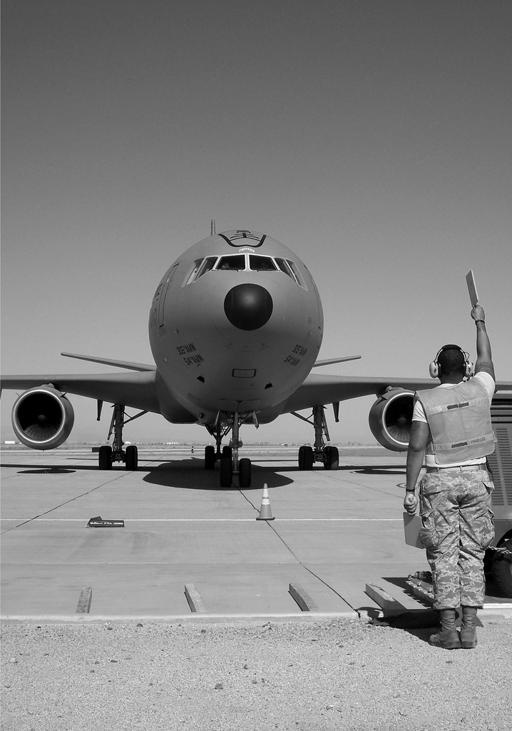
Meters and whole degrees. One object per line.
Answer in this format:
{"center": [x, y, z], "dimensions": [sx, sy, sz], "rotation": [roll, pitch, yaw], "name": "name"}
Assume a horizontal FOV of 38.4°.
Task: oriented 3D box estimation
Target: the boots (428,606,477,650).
{"center": [1.123, 1.487, 4.170], "dimensions": [0.275, 0.190, 0.199], "rotation": [-2, -8, 3], "name": "boots"}

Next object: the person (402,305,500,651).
{"center": [1.233, 0.766, 4.578], "dimensions": [0.459, 1.720, 0.866], "rotation": [-7, -10, 30], "name": "person"}

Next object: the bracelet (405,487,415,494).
{"center": [0.936, 0.753, 4.437], "dimensions": [0.040, 0.026, 0.038], "rotation": [0, -2, 11], "name": "bracelet"}
